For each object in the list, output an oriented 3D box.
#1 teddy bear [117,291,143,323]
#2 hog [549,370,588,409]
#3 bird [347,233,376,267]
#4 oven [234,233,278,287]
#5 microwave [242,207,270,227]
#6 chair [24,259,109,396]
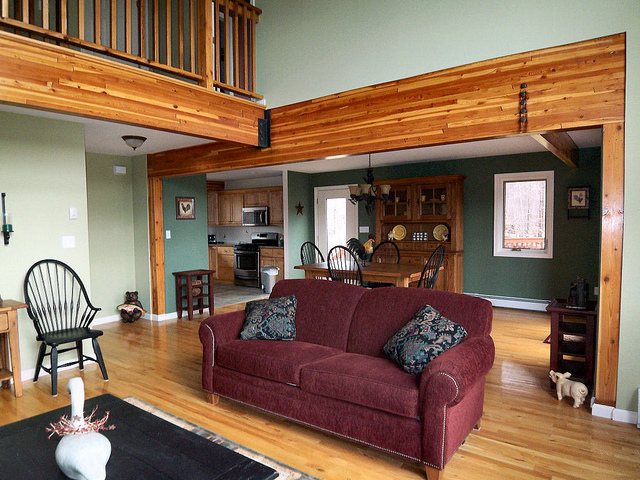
[{"bbox_3d":[-2.883,1.014,7.059,0.345,0.418,0.341,-5,10,-24],"label":"teddy bear"},{"bbox_3d":[2.271,1.362,4.285,0.160,0.228,0.362,-9,13,-20],"label":"hog"},{"bbox_3d":[0.611,0.135,6.789,0.581,0.486,0.176,5,15,42],"label":"bird"},{"bbox_3d":[-1.399,0.406,10.128,0.899,1.095,0.938,-4,9,-22],"label":"oven"},{"bbox_3d":[-1.401,-0.521,10.136,0.635,0.411,0.411,1,0,36],"label":"microwave"},{"bbox_3d":[-2.663,0.879,4.879,0.600,1.267,0.651,7,9,41],"label":"chair"}]
